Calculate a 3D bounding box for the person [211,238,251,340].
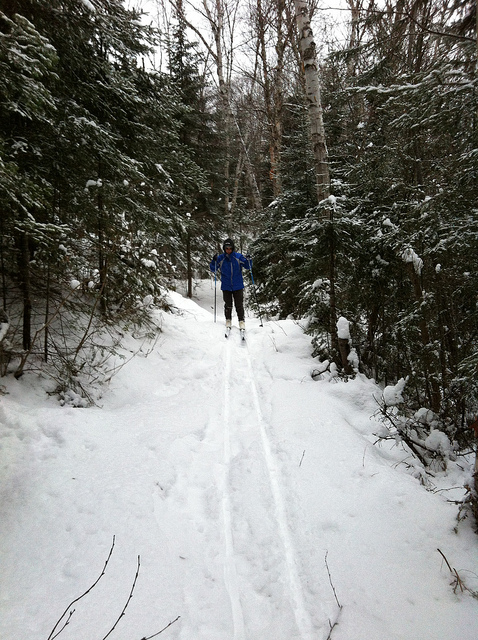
[{"bbox_3d":[-0.187,-0.691,10.473,0.757,1.993,1.109,1,3,-3],"label":"person"}]
